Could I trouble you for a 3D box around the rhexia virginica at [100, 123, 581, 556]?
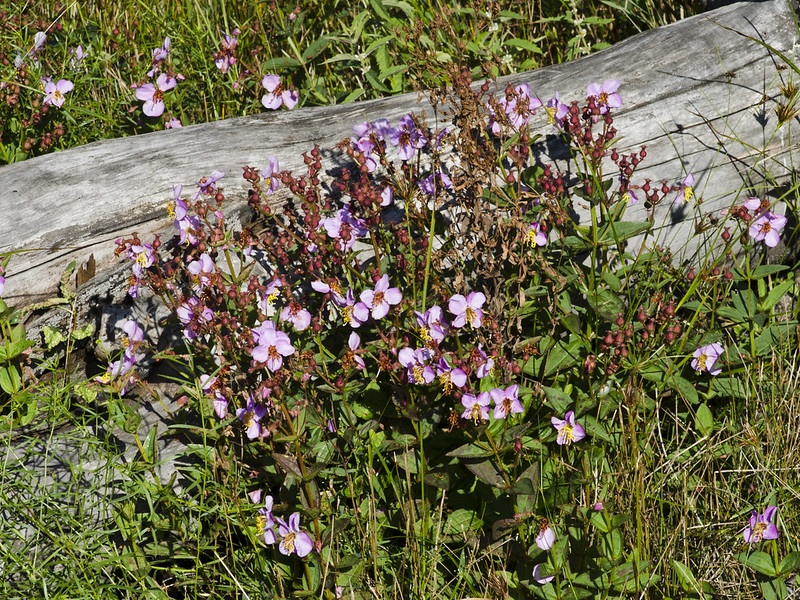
[{"bbox_3d":[-0.049,0.200,3.913,1.962,1.444,1.847,-2,53,17],"label":"rhexia virginica"}]
